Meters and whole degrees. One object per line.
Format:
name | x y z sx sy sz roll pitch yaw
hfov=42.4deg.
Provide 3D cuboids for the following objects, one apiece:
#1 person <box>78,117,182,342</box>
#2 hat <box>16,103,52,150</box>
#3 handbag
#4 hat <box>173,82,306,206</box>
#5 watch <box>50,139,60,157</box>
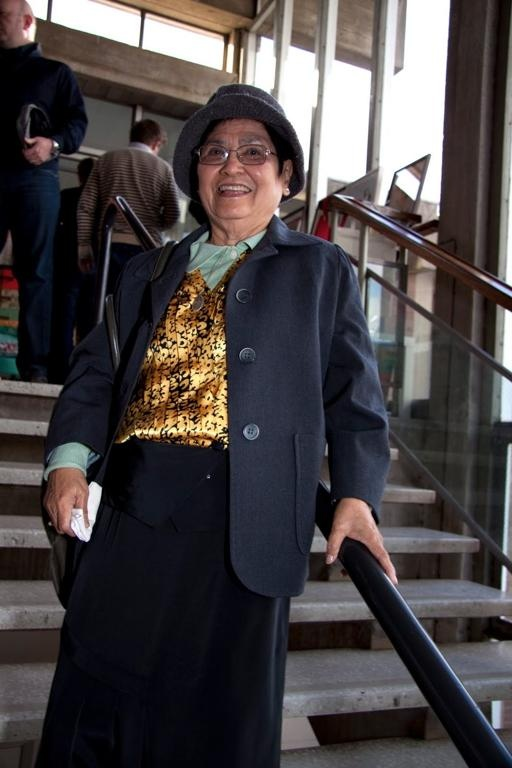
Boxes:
person | -0.724 -0.766 3.745 0.491 1.474 0.434 9 -3 10
hat | -0.989 -1.144 2.924 0.083 0.193 0.194 3 -3 9
handbag | -0.284 0.250 1.016 0.115 0.160 0.047 1 0 13
hat | -0.025 -0.446 1.235 0.302 0.184 0.368 -5 25 8
watch | -0.910 -1.059 2.980 0.040 0.046 0.052 -3 20 -3
